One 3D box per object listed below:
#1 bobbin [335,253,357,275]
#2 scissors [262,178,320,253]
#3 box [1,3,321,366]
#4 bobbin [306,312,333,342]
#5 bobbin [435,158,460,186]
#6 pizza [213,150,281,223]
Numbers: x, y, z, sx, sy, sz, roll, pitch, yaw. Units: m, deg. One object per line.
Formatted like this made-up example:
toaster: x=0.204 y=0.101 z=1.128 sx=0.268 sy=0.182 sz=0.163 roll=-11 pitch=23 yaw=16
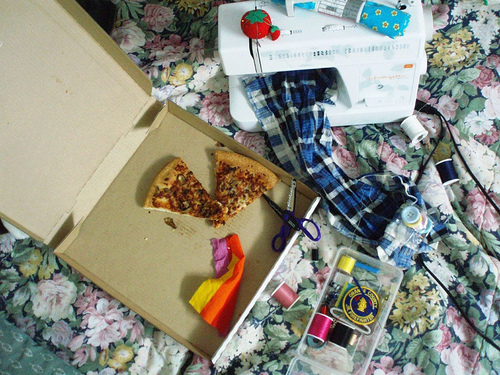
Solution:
bobbin: x=0.350 y=0.280 z=1.541 sx=0.060 sy=0.061 sz=0.065 roll=32 pitch=83 yaw=7
scissors: x=0.150 y=0.110 z=1.600 sx=0.175 sy=0.018 sz=0.222 roll=-48 pitch=66 yaw=14
box: x=-0.536 y=-0.027 z=1.899 sx=1.460 sy=0.655 sz=0.961 roll=37 pitch=84 yaw=-6
bobbin: x=0.257 y=0.478 z=1.497 sx=0.068 sy=0.070 sz=0.118 roll=16 pitch=96 yaw=7
bobbin: x=0.779 y=-0.060 z=1.638 sx=0.065 sy=0.058 sz=0.090 roll=-32 pitch=77 yaw=40
pizza: x=-0.053 y=0.020 z=1.647 sx=0.317 sy=0.030 sz=0.300 roll=20 pitch=77 yaw=26
